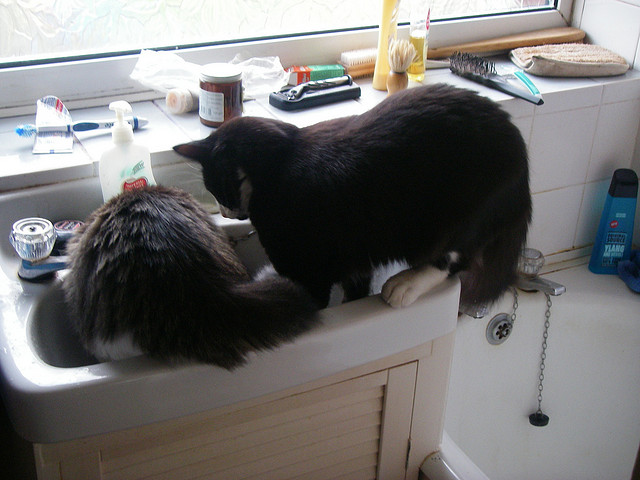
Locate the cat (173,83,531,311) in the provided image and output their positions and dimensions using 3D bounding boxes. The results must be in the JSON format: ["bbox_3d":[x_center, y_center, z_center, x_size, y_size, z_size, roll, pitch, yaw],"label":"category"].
[{"bbox_3d":[0.068,-0.050,0.811,0.479,0.338,0.229,-7,31,8],"label":"cat"}]

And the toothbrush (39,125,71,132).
[{"bbox_3d":[-0.494,-0.207,0.996,0.070,0.010,0.018,2,13,-14],"label":"toothbrush"}]

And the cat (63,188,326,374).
[{"bbox_3d":[-0.182,0.048,0.745,0.370,0.220,0.227,13,31,20],"label":"cat"}]

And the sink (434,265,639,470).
[{"bbox_3d":[0.612,0.355,1.526,0.492,0.673,0.240,-3,7,-11],"label":"sink"}]

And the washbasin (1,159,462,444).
[{"bbox_3d":[-0.169,0.044,0.860,0.621,0.192,0.496,-14,32,-22],"label":"washbasin"}]

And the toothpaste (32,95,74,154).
[{"bbox_3d":[-0.520,-0.230,1.026,0.074,0.071,0.215,-14,32,-21],"label":"toothpaste"}]
